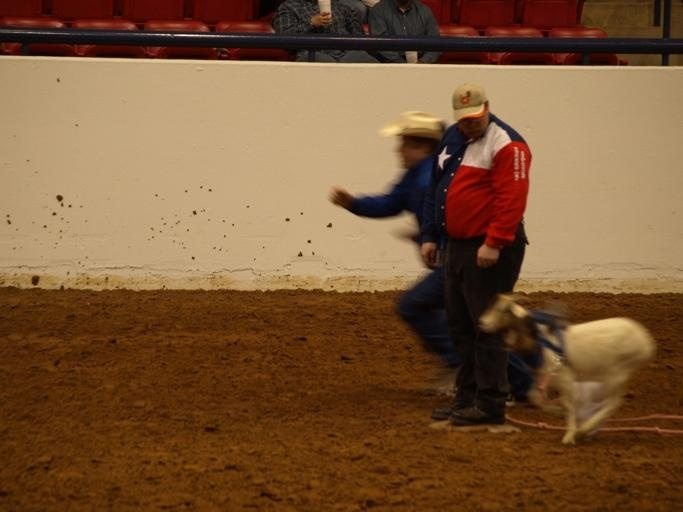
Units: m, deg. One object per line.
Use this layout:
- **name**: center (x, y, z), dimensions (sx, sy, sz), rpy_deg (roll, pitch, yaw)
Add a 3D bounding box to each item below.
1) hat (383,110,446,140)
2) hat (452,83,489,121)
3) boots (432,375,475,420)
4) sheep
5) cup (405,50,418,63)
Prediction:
- **hat**: center (0.658, -1.079, 9.517), dimensions (0.404, 0.123, 0.388), rpy_deg (4, 1, -31)
- **hat**: center (1.010, -1.255, 9.097), dimensions (0.287, 0.230, 0.432), rpy_deg (-9, 26, 12)
- **boots**: center (0.946, 1.200, 9.607), dimensions (0.507, 0.352, 0.196), rpy_deg (-10, 4, 3)
- **sheep**: center (1.759, 0.886, 9.043), dimensions (1.422, 1.126, 0.461), rpy_deg (2, 9, -4)
- **cup**: center (0.740, -2.115, 12.112), dimensions (0.128, 0.133, 0.120), rpy_deg (-2, 17, 1)
